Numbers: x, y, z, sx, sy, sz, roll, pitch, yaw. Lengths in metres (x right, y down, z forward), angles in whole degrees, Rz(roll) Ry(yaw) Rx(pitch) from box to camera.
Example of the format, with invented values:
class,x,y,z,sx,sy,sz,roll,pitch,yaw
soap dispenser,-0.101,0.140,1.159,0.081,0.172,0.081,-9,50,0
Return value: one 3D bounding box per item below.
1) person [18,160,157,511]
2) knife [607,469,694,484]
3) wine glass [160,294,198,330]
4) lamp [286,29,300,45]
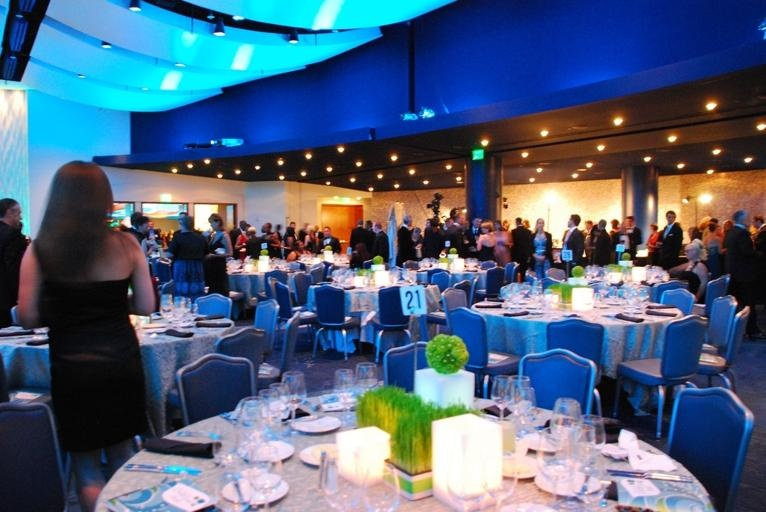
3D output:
class,x,y,z,sx,sy,sz,roll,pitch,yaw
person,-1.883,0.527,3.673,0.792,2.251,0.283,-1,4,-31
knife,1.453,1.194,3.096,0.432,0.036,0.062,1,2,5
wine glass,-1.999,0.551,5.551,0.337,0.328,0.342,1,-9,-12
lamp,-2.271,-5.492,14.497,0.317,0.306,0.381,6,-13,-24
